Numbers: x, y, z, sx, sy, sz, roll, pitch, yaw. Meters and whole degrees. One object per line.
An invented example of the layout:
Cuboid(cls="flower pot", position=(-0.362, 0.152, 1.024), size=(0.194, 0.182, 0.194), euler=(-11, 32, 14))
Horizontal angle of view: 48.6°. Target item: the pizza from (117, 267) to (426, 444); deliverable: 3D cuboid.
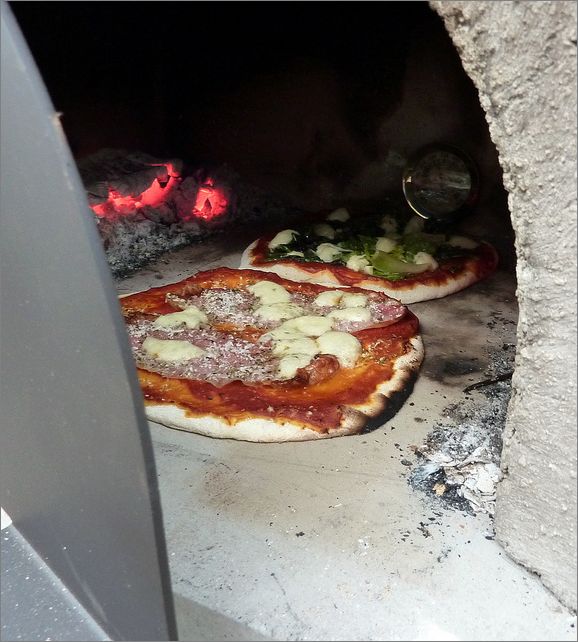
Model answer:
Cuboid(cls="pizza", position=(-0.043, 0.142, 2.272), size=(0.916, 0.074, 0.736), euler=(-4, 26, -2))
